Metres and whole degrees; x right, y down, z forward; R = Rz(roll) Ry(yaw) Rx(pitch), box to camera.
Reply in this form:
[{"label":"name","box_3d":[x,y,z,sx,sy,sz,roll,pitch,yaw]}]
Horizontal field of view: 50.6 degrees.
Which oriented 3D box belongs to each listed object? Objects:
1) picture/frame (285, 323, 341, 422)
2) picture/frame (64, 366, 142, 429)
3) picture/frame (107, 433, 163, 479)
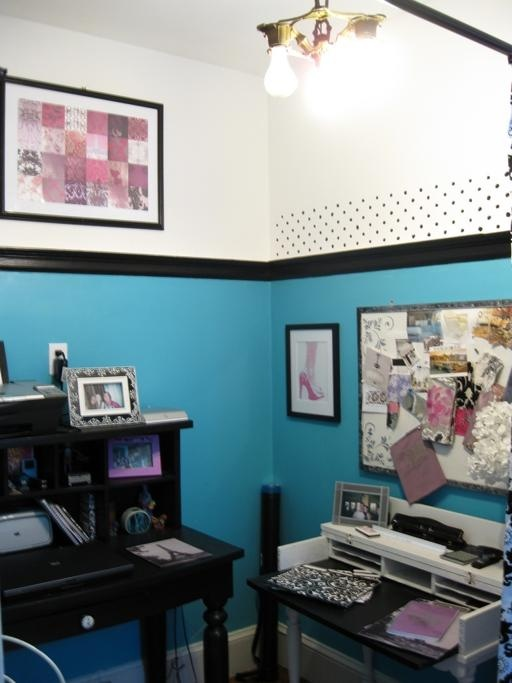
[{"label":"picture/frame","box_3d":[0.281,0.146,2.595,0.038,0.605,0.446,0,0,-33]},{"label":"picture/frame","box_3d":[-0.594,0.219,2.066,0.202,0.197,0.022,5,-27,-36]},{"label":"picture/frame","box_3d":[-0.491,0.459,2.145,0.182,0.181,0.020,3,-19,-30]}]
